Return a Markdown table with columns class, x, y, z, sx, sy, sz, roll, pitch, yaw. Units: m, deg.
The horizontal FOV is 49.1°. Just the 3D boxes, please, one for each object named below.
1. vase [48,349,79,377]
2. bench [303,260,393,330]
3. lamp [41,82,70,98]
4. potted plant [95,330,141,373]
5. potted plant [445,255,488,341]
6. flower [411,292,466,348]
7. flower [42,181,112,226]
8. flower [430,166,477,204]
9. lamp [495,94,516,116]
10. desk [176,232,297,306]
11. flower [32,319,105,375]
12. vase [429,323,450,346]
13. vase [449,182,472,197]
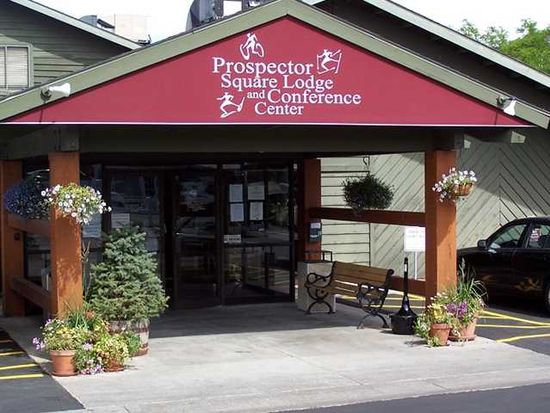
| class | x | y | z | sx | sy | sz | roll | pitch | yaw |
| --- | --- | --- | --- | --- | --- | --- | --- | --- | --- |
| vase | -2.949 | 2.153 | 8.450 | 0.379 | 0.313 | 0.370 | 1 | -2 | 2 |
| bench | 1.392 | 1.705 | 11.967 | 0.859 | 1.028 | 2.092 | 0 | -1 | -26 |
| lamp | -2.937 | -1.564 | 8.096 | 0.303 | 0.171 | 0.182 | -8 | 9 | -25 |
| potted plant | -2.319 | 2.164 | 8.748 | 0.546 | 0.397 | 0.487 | -3 | -16 | 26 |
| potted plant | 3.370 | 1.738 | 10.497 | 0.739 | 1.156 | 0.844 | -15 | -11 | 26 |
| flower | 2.750 | 1.863 | 10.400 | 0.906 | 1.031 | 0.792 | 2 | 5 | -16 |
| flower | -2.925 | -0.037 | 8.732 | 0.822 | 0.620 | 0.546 | 0 | 1 | -20 |
| flower | 3.076 | -0.368 | 10.499 | 0.640 | 0.452 | 0.662 | -1 | -3 | -13 |
| lamp | 3.813 | -1.667 | 10.015 | 0.331 | 0.295 | 0.205 | 0 | 1 | 5 |
| desk | -1.005 | 1.461 | 13.664 | 1.903 | 1.122 | 1.874 | -1 | 2 | -37 |
| flower | -2.973 | 2.060 | 8.700 | 0.822 | 0.684 | 0.941 | 3 | -16 | -5 |
| vase | 2.738 | 2.125 | 10.071 | 0.364 | 0.278 | 0.356 | 1 | -9 | 2 |
| vase | 3.152 | -0.290 | 10.313 | 0.267 | 0.119 | 0.261 | 0 | -2 | -10 |
